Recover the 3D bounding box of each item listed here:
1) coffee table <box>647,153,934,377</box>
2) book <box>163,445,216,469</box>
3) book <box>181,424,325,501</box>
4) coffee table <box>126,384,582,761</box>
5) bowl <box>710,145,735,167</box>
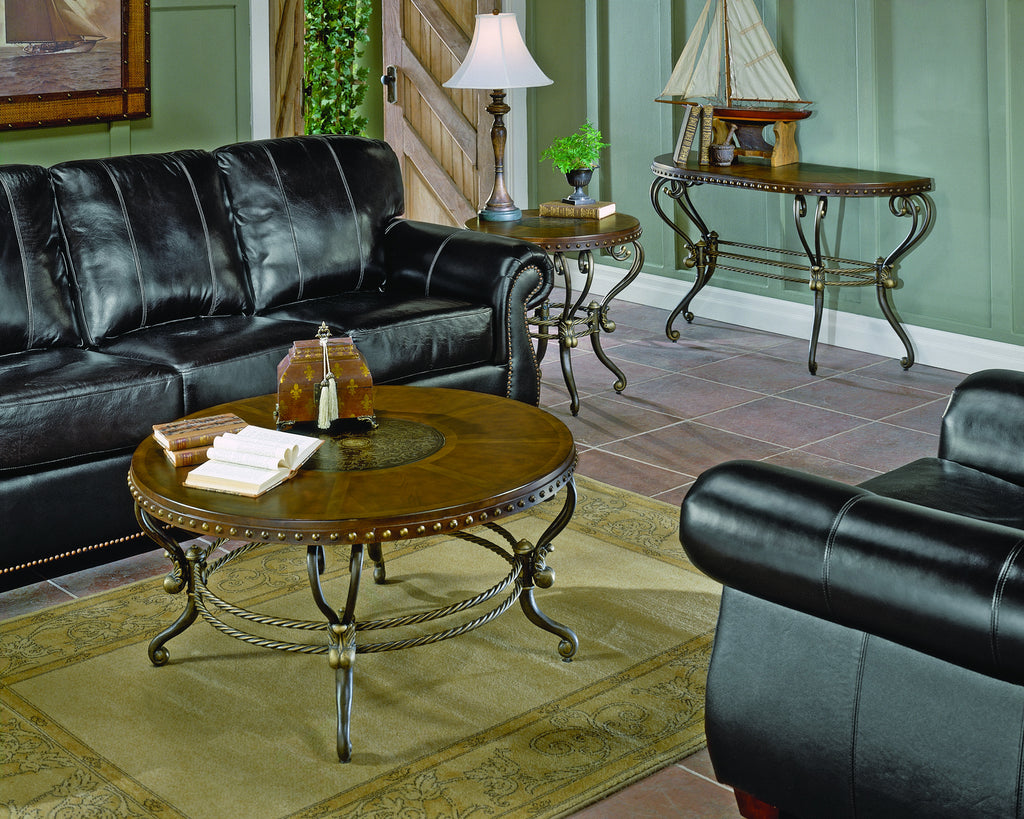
[{"bbox_3d":[1.443,-0.887,5.206,0.652,0.755,1.678,-13,20,-25],"label":"coffee table"},{"bbox_3d":[-0.791,0.109,2.199,0.083,0.016,0.079,-8,12,-40],"label":"book"},{"bbox_3d":[-0.602,0.119,2.079,0.193,0.057,0.241,7,22,18],"label":"book"},{"bbox_3d":[-0.492,0.332,2.382,1.095,0.437,1.060,-13,19,-41],"label":"coffee table"},{"bbox_3d":[1.133,-1.380,4.948,0.163,0.081,0.128,-2,9,-11],"label":"bowl"}]
